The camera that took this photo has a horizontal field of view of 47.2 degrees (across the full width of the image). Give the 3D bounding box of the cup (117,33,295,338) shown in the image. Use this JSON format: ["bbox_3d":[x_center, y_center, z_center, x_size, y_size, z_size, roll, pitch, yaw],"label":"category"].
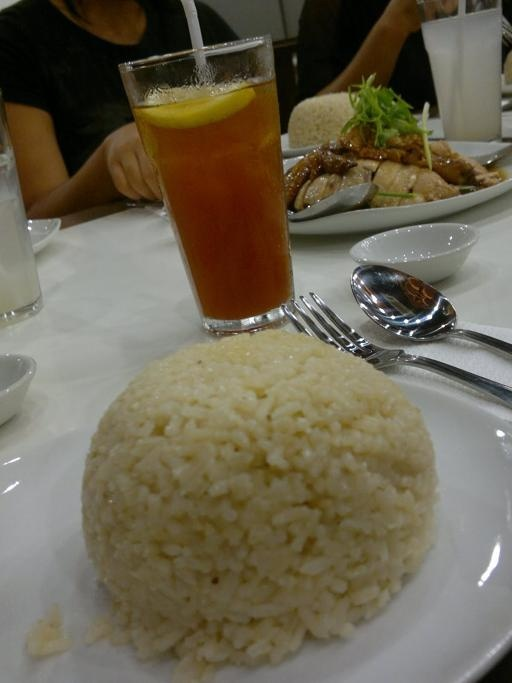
[{"bbox_3d":[-0.030,-0.156,0.654,0.120,0.308,0.162,-6,25,10],"label":"cup"}]
